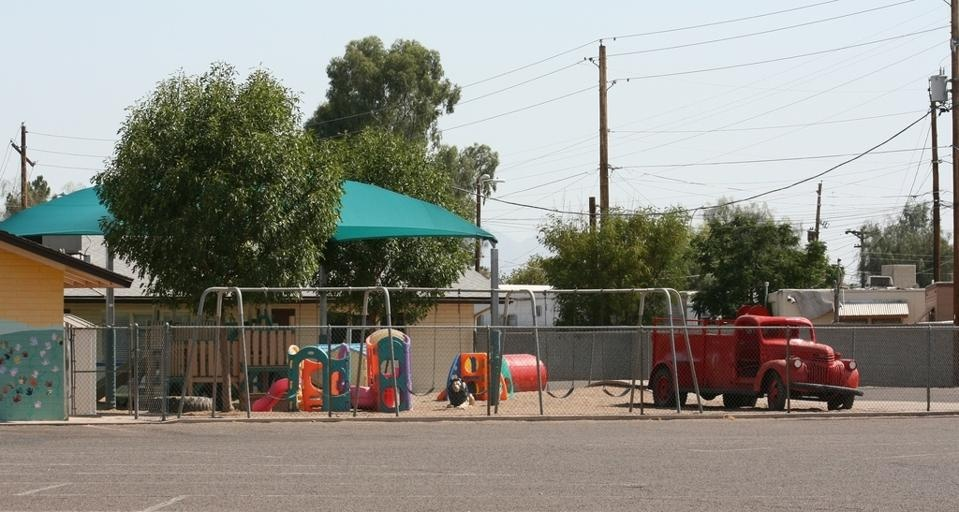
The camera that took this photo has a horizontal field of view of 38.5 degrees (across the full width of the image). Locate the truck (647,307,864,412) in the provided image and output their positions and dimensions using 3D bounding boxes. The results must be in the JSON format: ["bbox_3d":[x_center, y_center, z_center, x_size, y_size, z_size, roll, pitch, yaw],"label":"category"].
[{"bbox_3d":[11.168,4.048,55.605,7.893,4.551,3.382,-4,-12,15],"label":"truck"}]

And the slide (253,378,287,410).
[{"bbox_3d":[-8.370,5.647,55.527,1.326,1.459,2.013,4,-13,-21],"label":"slide"}]
